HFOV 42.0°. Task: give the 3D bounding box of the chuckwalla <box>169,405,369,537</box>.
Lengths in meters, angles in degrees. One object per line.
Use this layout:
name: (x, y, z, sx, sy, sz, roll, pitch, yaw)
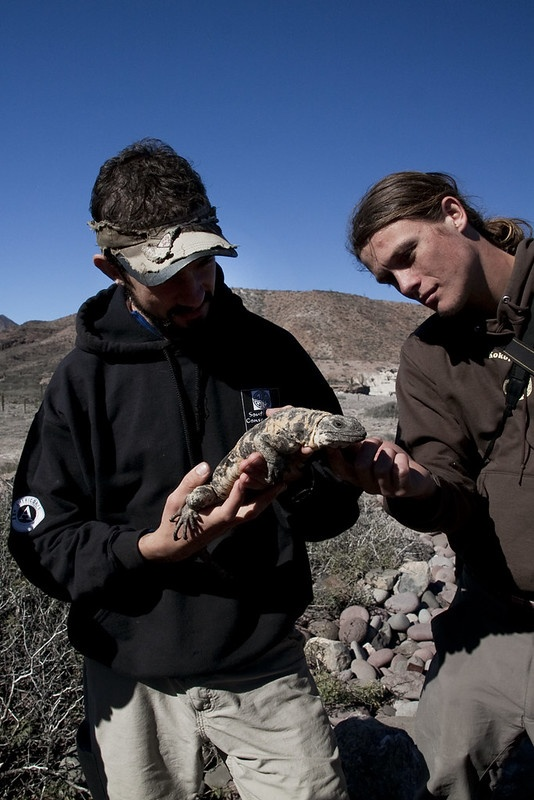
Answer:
chuckwalla: (0.000, 0.275, 3.533, 1.115, 0.350, 0.790, -20, 2, 18)
